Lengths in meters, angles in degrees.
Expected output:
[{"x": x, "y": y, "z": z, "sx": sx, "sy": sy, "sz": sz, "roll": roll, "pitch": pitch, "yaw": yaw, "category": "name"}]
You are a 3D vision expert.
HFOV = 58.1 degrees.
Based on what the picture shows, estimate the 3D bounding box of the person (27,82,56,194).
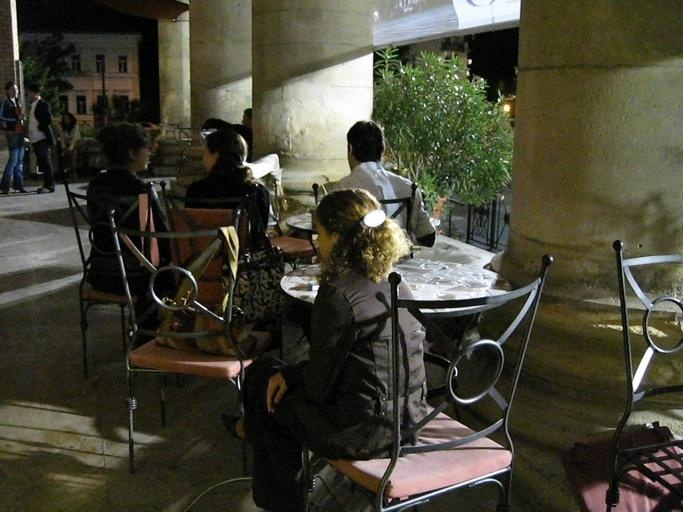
[{"x": -5.542, "y": -2.192, "z": 11.402, "sx": 0.404, "sy": 1.994, "sz": 0.791, "roll": -6, "pitch": 13, "yaw": -26, "category": "person"}]

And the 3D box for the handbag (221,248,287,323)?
[{"x": -0.442, "y": 0.163, "z": 3.434, "sx": 0.313, "sy": 0.451, "sz": 0.203, "roll": -10, "pitch": -19, "yaw": -1, "category": "handbag"}]
